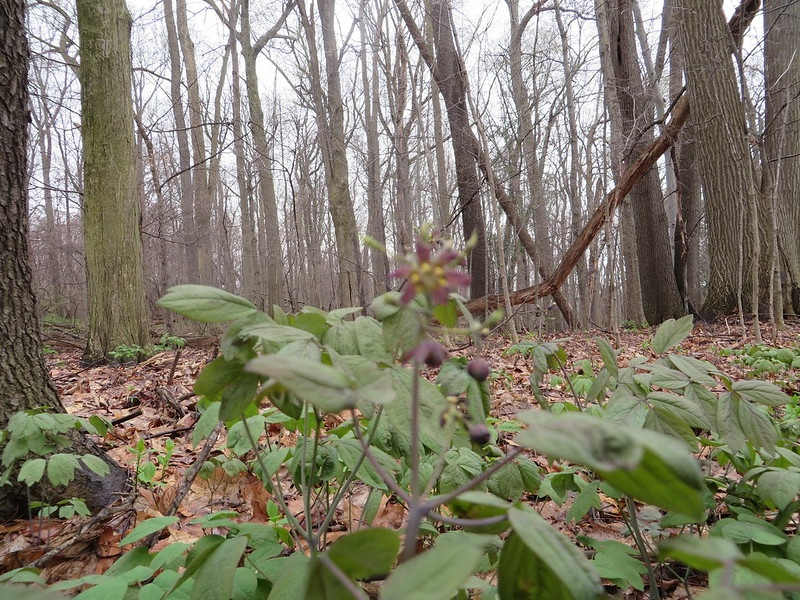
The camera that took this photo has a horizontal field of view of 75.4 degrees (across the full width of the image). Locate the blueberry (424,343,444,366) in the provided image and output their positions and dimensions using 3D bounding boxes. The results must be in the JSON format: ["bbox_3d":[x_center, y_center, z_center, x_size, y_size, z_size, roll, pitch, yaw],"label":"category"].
[{"bbox_3d":[0.129,0.187,1.822,0.060,0.084,0.083,4,31,10],"label":"blueberry"}]
